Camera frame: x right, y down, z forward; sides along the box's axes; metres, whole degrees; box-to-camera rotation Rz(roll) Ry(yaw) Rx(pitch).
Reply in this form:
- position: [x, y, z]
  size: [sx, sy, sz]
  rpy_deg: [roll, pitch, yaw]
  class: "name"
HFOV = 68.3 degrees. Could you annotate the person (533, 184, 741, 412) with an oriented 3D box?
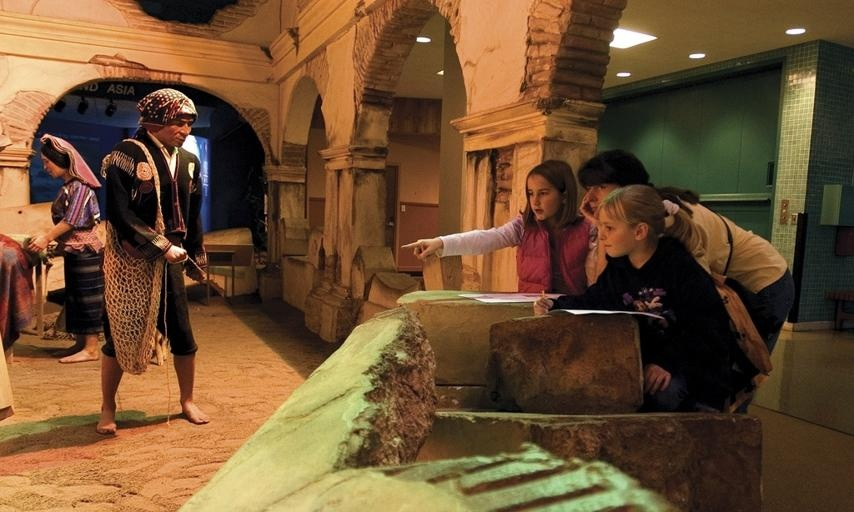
- position: [1.558, 0.284, 4.333]
  size: [1.054, 1.483, 0.482]
  rpy_deg: [8, 17, 29]
  class: "person"
